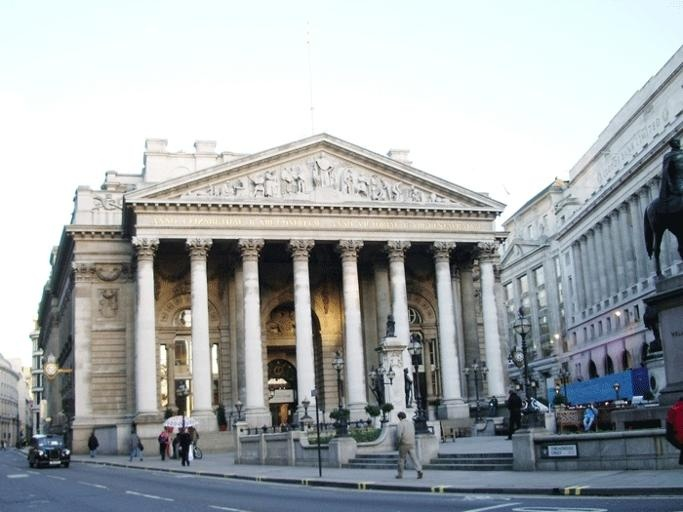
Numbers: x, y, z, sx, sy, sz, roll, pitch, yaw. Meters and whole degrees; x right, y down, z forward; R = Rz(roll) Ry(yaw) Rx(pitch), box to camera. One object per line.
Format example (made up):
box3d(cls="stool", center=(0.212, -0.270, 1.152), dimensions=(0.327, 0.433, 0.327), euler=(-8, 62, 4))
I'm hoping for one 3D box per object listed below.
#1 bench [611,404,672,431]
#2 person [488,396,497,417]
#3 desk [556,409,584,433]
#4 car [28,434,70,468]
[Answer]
box3d(cls="bench", center=(11.044, 6.118, 31.483), dimensions=(1.531, 1.030, 5.583), euler=(-7, -16, 14))
box3d(cls="person", center=(10.410, 10.346, 57.543), dimensions=(0.541, 1.409, 1.755), euler=(-5, -16, 8))
box3d(cls="desk", center=(11.554, 8.318, 42.470), dimensions=(1.192, 1.234, 1.886), euler=(-1, -8, 7))
box3d(cls="car", center=(-17.490, 11.722, 50.428), dimensions=(1.696, 2.154, 3.312), euler=(7, -19, -30))
